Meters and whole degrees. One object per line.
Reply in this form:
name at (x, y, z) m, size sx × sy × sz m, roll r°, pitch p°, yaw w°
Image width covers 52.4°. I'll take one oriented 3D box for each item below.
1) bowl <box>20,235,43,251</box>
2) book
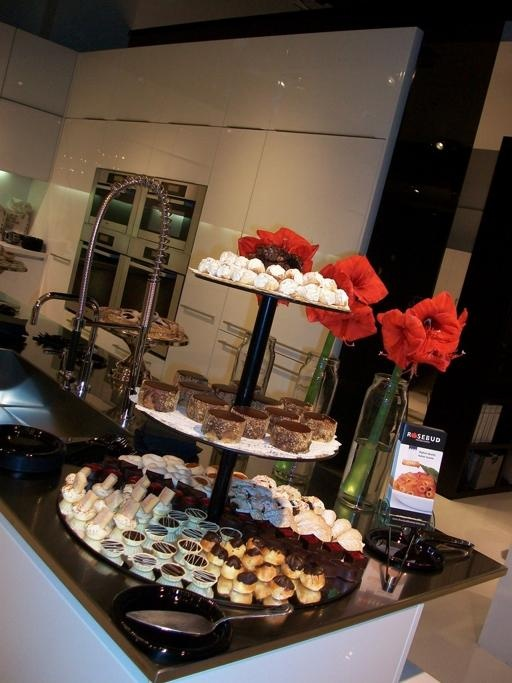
bowl at (-2.180, -0.943, 5.097) m, size 0.211 × 0.140 × 0.251 m, roll 15°, pitch 2°, yaw -34°
book at (0.346, 0.284, 1.121) m, size 0.130 × 0.230 × 0.042 m, roll 17°, pitch 2°, yaw -14°
